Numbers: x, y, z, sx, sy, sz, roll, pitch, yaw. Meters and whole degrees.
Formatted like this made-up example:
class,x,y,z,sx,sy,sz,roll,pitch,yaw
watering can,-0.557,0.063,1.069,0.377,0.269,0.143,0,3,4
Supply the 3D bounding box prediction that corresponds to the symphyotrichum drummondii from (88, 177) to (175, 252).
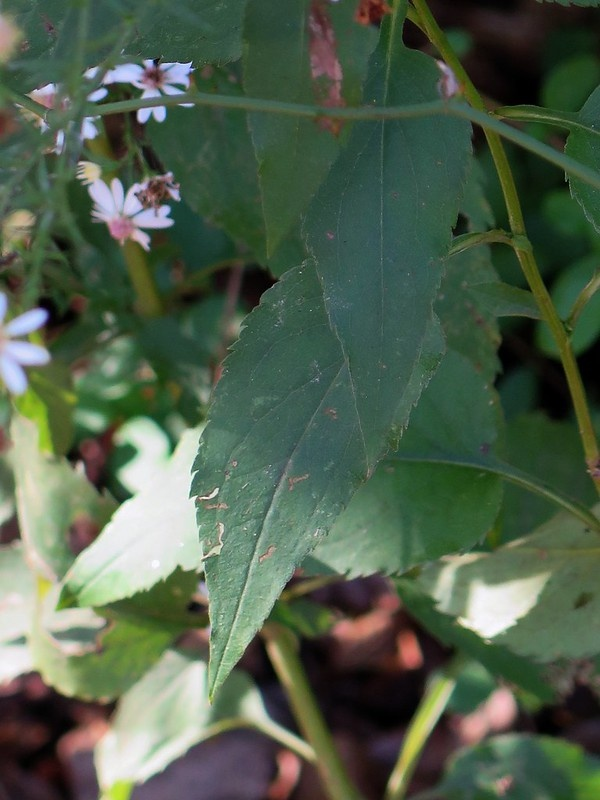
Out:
class,x,y,z,sx,sy,sz,roll,pitch,yaw
symphyotrichum drummondii,-0.110,-0.120,0.543,0.057,0.022,0.045,-18,-67,-5
